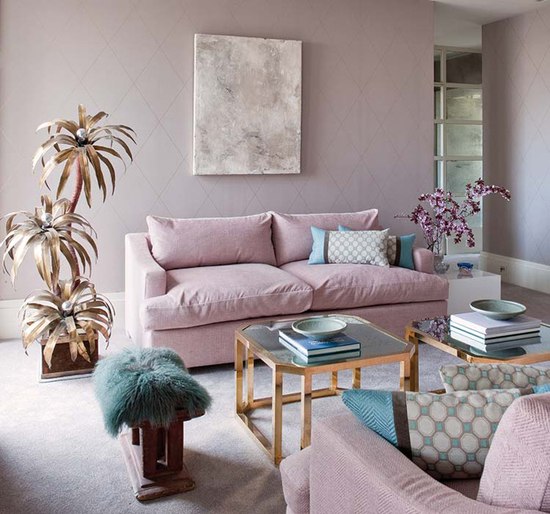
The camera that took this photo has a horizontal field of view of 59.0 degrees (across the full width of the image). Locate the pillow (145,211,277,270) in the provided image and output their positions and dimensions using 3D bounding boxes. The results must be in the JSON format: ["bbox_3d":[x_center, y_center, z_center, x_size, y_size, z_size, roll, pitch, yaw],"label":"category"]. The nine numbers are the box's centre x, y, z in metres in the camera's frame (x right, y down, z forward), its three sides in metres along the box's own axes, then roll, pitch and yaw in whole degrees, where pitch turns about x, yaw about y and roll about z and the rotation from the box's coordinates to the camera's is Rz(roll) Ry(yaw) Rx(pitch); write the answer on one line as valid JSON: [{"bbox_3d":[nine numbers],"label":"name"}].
[{"bbox_3d":[-0.464,-0.141,3.849,0.999,0.488,0.236,-4,36,-11],"label":"pillow"}]

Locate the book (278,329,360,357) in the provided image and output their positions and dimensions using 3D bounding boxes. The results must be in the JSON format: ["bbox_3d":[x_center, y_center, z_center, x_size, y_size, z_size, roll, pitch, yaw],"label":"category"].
[{"bbox_3d":[0.202,0.387,2.271,0.293,0.049,0.314,-4,9,-23],"label":"book"}]

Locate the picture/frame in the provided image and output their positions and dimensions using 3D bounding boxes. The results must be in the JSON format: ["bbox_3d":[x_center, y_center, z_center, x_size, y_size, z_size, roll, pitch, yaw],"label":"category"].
[{"bbox_3d":[-0.219,-1.309,4.257,0.955,1.169,0.043,-4,21,-16],"label":"picture/frame"}]

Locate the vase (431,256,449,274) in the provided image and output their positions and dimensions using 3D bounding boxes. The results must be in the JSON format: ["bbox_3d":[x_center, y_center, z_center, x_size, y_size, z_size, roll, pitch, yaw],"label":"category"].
[{"bbox_3d":[1.513,0.064,4.419,0.149,0.176,0.155,1,4,21],"label":"vase"}]

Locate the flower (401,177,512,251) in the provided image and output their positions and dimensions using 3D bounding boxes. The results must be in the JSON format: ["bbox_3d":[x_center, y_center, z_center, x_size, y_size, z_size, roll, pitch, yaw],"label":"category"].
[{"bbox_3d":[1.956,-0.496,5.179,0.895,0.699,0.942,-5,6,-29],"label":"flower"}]

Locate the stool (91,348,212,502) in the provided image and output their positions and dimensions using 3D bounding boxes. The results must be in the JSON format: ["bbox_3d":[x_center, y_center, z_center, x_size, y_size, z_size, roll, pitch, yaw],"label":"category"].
[{"bbox_3d":[-0.513,0.657,2.028,0.424,0.490,0.443,-4,9,-24],"label":"stool"}]

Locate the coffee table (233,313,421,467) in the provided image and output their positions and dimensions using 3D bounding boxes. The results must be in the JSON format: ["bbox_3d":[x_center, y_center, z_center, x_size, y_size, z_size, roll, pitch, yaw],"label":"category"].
[{"bbox_3d":[0.132,0.528,2.348,0.656,0.433,0.652,-6,12,-24],"label":"coffee table"}]

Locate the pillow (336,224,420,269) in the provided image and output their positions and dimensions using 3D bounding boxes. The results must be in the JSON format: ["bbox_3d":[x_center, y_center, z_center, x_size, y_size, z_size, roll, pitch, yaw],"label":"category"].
[{"bbox_3d":[0.860,-0.157,4.181,0.238,0.491,0.754,-27,22,-31],"label":"pillow"}]
